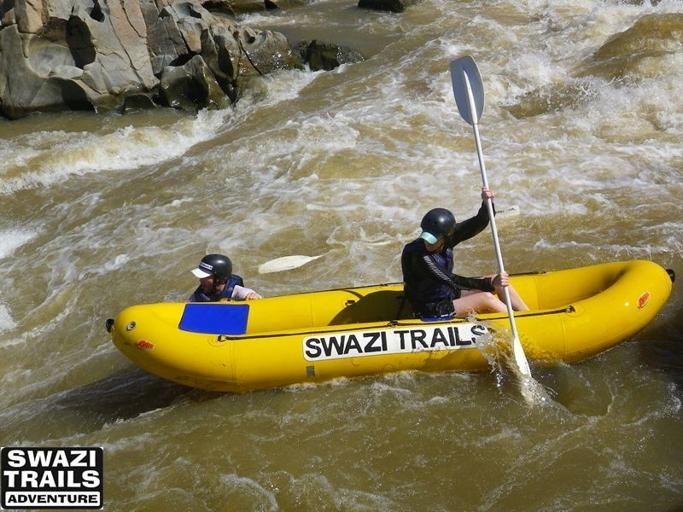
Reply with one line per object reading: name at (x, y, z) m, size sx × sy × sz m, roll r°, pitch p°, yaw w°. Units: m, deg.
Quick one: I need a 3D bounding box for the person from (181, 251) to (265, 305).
person at (-1.396, 0.376, 11.296) m, size 1.275 × 0.629 × 0.741 m, roll 4°, pitch 1°, yaw -30°

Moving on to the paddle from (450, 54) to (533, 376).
paddle at (1.851, -0.872, 11.135) m, size 0.569 × 4.763 × 0.181 m, roll -10°, pitch -5°, yaw 5°

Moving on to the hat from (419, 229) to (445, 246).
hat at (1.040, -0.193, 10.422) m, size 0.241 × 0.162 × 0.384 m, roll 12°, pitch -8°, yaw 26°

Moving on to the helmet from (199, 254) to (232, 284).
helmet at (-1.537, 0.144, 10.980) m, size 0.412 × 0.194 × 0.281 m, roll 6°, pitch 16°, yaw -18°

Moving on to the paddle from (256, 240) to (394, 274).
paddle at (-0.186, 0.036, 12.702) m, size 2.031 × 0.216 × 0.038 m, roll -12°, pitch -8°, yaw -19°
